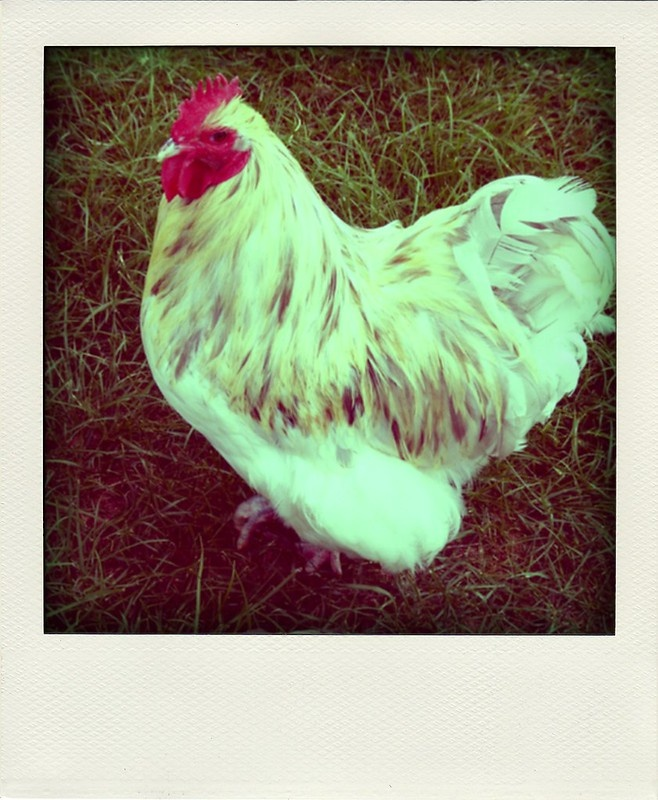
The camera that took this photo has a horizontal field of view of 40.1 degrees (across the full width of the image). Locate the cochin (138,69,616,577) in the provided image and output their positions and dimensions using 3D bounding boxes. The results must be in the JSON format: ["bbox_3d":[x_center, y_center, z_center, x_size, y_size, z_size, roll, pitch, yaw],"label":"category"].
[{"bbox_3d":[0.072,-0.118,1.483,0.749,0.740,0.473,4,35,14],"label":"cochin"}]
